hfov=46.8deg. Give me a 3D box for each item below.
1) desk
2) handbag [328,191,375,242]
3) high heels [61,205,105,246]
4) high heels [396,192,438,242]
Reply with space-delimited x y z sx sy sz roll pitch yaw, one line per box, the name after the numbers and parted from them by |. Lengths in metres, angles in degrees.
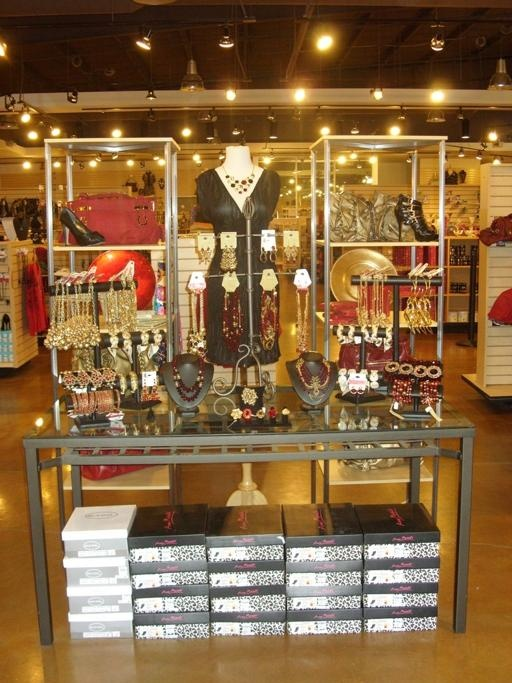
-0.027 0.644 2.266 1.577 0.805 0.724 -2 5 -9 | desk
0.464 -0.649 3.107 0.265 0.243 0.088 -4 2 -7 | handbag
-0.806 -0.537 2.747 0.199 0.190 0.108 0 5 10 | high heels
0.791 -0.609 2.922 0.204 0.239 0.201 0 5 13 | high heels
